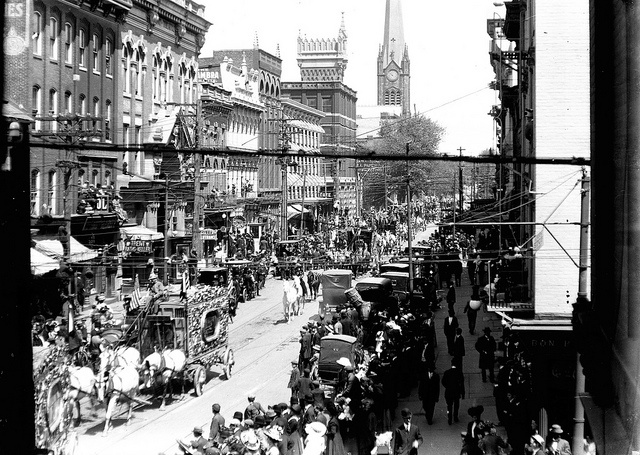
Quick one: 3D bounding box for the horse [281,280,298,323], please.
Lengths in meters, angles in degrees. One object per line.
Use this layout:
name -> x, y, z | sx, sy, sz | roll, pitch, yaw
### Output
horse -> -1.398, 3.580, 47.907 | 0.363, 1.294, 1.697 | 9, 7, 17

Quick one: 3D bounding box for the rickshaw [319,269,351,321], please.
rickshaw -> 0.619, 2.865, 47.984 | 1.157, 1.959, 2.111 | 0, -7, 4

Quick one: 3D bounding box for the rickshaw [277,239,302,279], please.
rickshaw -> -2.055, 1.878, 61.374 | 1.698, 2.480, 1.734 | 2, 3, -29

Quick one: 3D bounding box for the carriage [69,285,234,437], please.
carriage -> -5.899, 4.304, 35.479 | 3.886, 4.183, 3.915 | 0, 0, 14

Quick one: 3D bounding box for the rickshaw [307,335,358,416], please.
rickshaw -> 0.373, 4.754, 34.950 | 1.094, 1.252, 2.150 | 3, 27, 10

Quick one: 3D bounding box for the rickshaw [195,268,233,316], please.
rickshaw -> -4.679, 2.989, 48.518 | 1.432, 2.168, 1.412 | -1, -2, -21

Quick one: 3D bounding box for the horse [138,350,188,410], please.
horse -> -5.056, 4.898, 34.203 | 0.769, 1.829, 2.814 | -3, 6, 20

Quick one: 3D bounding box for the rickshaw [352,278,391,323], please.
rickshaw -> 1.973, 3.285, 46.591 | 1.917, 1.994, 3.758 | -2, 1, -17

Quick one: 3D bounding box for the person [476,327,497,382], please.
person -> 6.159, 4.677, 38.408 | 0.715, 2.006, 1.480 | 0, 0, 9
